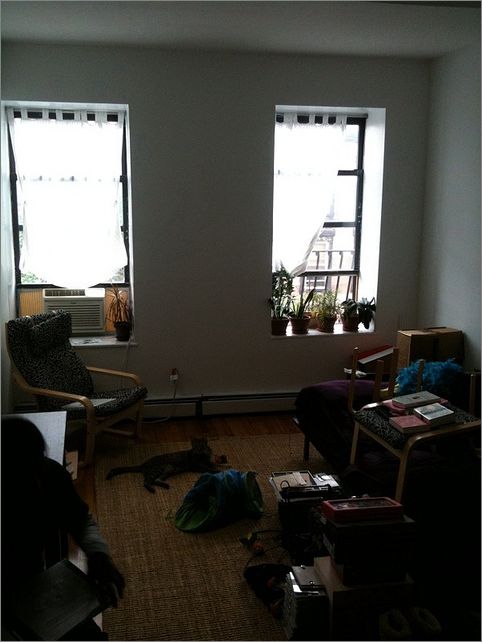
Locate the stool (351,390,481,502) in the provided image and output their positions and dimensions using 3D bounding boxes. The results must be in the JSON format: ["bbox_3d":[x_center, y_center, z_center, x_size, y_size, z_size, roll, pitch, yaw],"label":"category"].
[{"bbox_3d":[0.815,0.584,2.540,0.450,0.388,0.570,-1,8,-13],"label":"stool"}]

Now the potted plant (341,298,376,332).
[{"bbox_3d":[0.946,-0.070,4.337,0.244,0.223,0.239,-5,9,-21],"label":"potted plant"}]

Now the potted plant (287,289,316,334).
[{"bbox_3d":[0.479,-0.070,4.256,0.142,0.333,0.136,12,19,40],"label":"potted plant"}]

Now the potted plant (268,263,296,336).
[{"bbox_3d":[0.331,-0.152,4.249,0.146,0.515,0.245,5,8,33],"label":"potted plant"}]

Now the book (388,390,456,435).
[{"bbox_3d":[0.803,0.414,2.409,0.161,0.043,0.174,-8,17,-13],"label":"book"}]

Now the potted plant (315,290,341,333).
[{"bbox_3d":[0.715,-0.076,4.377,0.197,0.314,0.236,1,7,2],"label":"potted plant"}]

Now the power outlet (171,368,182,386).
[{"bbox_3d":[-0.502,0.422,4.037,0.087,0.182,0.093,-2,15,-12],"label":"power outlet"}]
